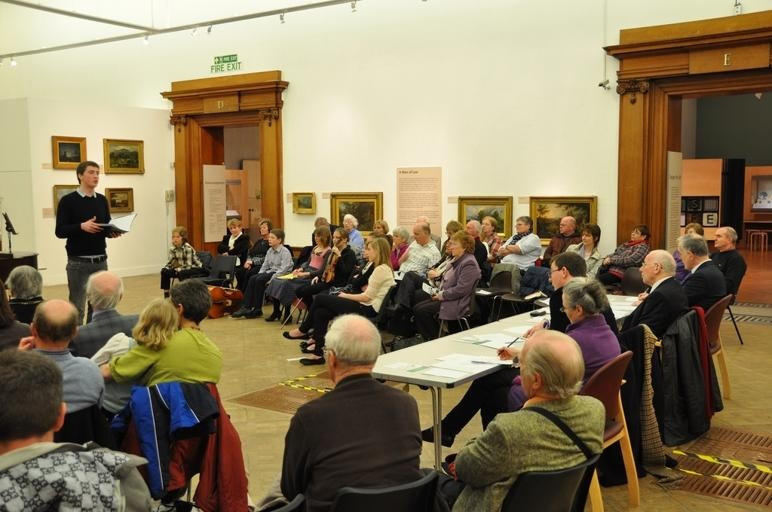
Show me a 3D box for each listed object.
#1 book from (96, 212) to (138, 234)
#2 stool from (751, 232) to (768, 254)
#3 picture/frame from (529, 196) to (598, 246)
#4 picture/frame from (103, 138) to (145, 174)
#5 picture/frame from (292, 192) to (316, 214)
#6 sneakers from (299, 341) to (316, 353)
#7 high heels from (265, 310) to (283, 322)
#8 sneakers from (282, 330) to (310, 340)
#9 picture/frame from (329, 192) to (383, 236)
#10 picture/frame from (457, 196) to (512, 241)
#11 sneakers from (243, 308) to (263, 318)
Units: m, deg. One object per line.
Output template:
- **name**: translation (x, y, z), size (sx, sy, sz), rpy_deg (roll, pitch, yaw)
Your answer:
- **book**: translation (-3.014, -0.345, 6.394), size (0.423, 0.182, 0.455), rpy_deg (-19, 3, -41)
- **stool**: translation (11.700, -0.391, 17.637), size (0.518, 0.659, 0.688), rpy_deg (1, 1, -1)
- **picture/frame**: translation (3.029, -0.583, 9.446), size (0.862, 0.699, 0.065), rpy_deg (1, 0, 40)
- **picture/frame**: translation (-6.198, -2.348, 13.310), size (0.093, 0.726, 0.868), rpy_deg (6, 6, 41)
- **picture/frame**: translation (-1.723, -1.138, 12.169), size (0.467, 0.404, 0.038), rpy_deg (3, 4, 30)
- **sneakers**: translation (-0.997, 1.170, 7.319), size (0.229, 0.075, 0.169), rpy_deg (0, 1, -22)
- **high heels**: translation (-1.829, 0.982, 9.213), size (0.340, 0.181, 0.112), rpy_deg (1, -5, -17)
- **sneakers**: translation (-1.220, 1.111, 7.869), size (0.403, 0.164, 0.146), rpy_deg (5, 1, -4)
- **picture/frame**: translation (-0.512, -0.830, 11.126), size (1.006, 0.801, 0.077), rpy_deg (2, 5, 31)
- **picture/frame**: translation (1.785, -0.644, 9.799), size (0.897, 0.762, 0.071), rpy_deg (1, 1, 33)
- **sneakers**: translation (-2.191, 0.950, 9.389), size (0.295, 0.213, 0.118), rpy_deg (4, 0, -3)
